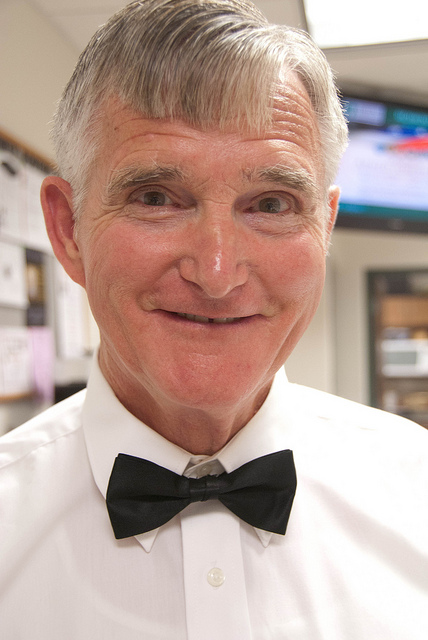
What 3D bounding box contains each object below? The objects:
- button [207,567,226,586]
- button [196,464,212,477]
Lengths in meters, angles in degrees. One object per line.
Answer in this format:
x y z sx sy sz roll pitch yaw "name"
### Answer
0.003 0.405 0.938 0.029 0.026 0.014 3 0 -1 "button"
-0.017 0.267 1.054 0.024 0.026 0.030 -2 -28 1 "button"
